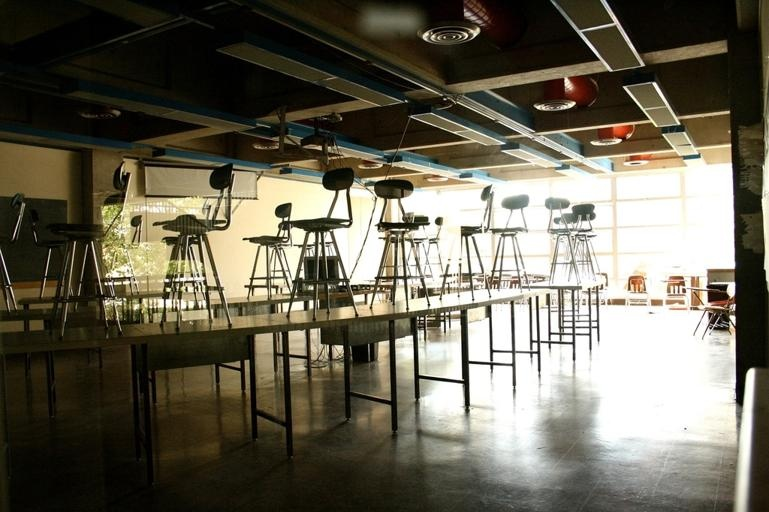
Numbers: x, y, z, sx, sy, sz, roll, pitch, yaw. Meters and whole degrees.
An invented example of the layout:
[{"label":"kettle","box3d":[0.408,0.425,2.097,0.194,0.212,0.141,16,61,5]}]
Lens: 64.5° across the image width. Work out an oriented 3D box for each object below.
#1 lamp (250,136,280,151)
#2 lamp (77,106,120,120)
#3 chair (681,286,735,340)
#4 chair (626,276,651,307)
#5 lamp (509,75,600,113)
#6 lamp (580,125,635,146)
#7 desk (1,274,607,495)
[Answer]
[{"label":"lamp","box3d":[-1.346,-1.302,7.009,0.287,0.078,0.274,-2,-2,33]},{"label":"lamp","box3d":[-2.096,-1.063,4.535,0.118,0.092,0.292,3,7,34]},{"label":"chair","box3d":[5.610,0.996,10.569,0.904,0.844,0.975,-5,-3,11]},{"label":"chair","box3d":[5.914,0.812,14.167,0.563,0.786,0.960,2,7,21]},{"label":"lamp","box3d":[2.252,-2.015,7.421,0.705,0.348,0.452,-2,7,-16]},{"label":"lamp","box3d":[3.592,-1.985,9.822,0.614,0.255,0.672,3,7,34]},{"label":"desk","box3d":[-0.318,0.901,5.977,6.198,1.398,1.816,-6,8,-44]}]
